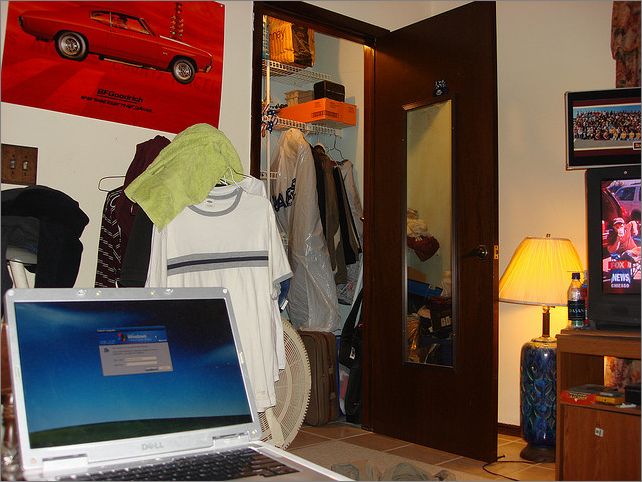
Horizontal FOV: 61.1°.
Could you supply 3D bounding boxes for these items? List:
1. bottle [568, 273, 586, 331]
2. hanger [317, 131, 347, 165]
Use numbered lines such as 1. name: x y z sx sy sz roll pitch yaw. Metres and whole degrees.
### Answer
1. bottle: 1.261 0.295 2.707 0.078 0.264 0.228 -3 -4 26
2. hanger: 0.123 -0.785 4.627 0.329 0.349 0.046 -1 -7 -15
